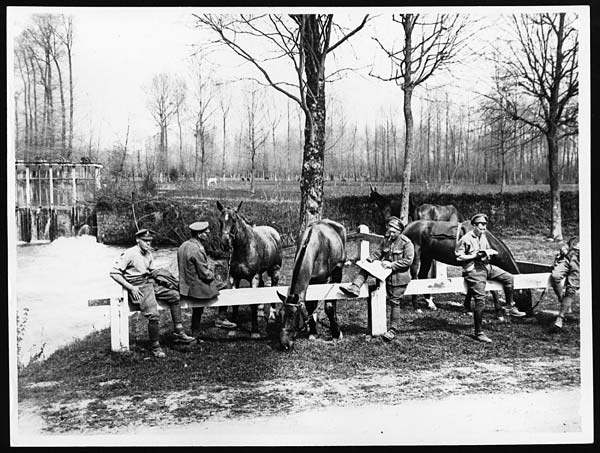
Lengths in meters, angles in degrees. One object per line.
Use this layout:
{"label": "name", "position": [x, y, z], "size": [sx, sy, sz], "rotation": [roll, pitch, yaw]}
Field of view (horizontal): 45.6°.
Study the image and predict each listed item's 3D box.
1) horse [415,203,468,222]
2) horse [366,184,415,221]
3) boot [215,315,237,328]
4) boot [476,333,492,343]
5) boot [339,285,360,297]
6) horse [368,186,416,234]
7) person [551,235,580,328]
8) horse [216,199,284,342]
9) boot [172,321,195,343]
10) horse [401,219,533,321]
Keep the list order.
{"label": "horse", "position": [3.946, -0.375, 20.063], "size": [1.292, 0.479, 0.653], "rotation": [0, 1, 8]}
{"label": "horse", "position": [2.620, -0.564, 21.540], "size": [0.382, 1.253, 1.468], "rotation": [-3, 1, -38]}
{"label": "boot", "position": [-1.763, 2.303, 17.373], "size": [0.575, 0.305, 0.235], "rotation": [2, 3, 7]}
{"label": "boot", "position": [4.446, 2.673, 17.231], "size": [0.343, 0.174, 0.187], "rotation": [2, 15, 30]}
{"label": "boot", "position": [1.163, 1.479, 16.822], "size": [0.494, 0.283, 0.197], "rotation": [20, -16, 7]}
{"label": "horse", "position": [2.850, -0.466, 21.547], "size": [1.386, 1.276, 0.415], "rotation": [5, 30, 14]}
{"label": "person", "position": [6.524, 1.322, 17.505], "size": [0.631, 2.198, 0.752], "rotation": [0, 1, 9]}
{"label": "horse", "position": [-1.149, 1.042, 17.701], "size": [0.841, 3.035, 3.592], "rotation": [3, -2, 19]}
{"label": "boot", "position": [-2.628, 2.469, 16.646], "size": [0.612, 0.600, 0.301], "rotation": [1, 4, -7]}
{"label": "horse", "position": [4.178, 1.026, 18.986], "size": [3.509, 2.667, 0.938], "rotation": [4, 22, 23]}
